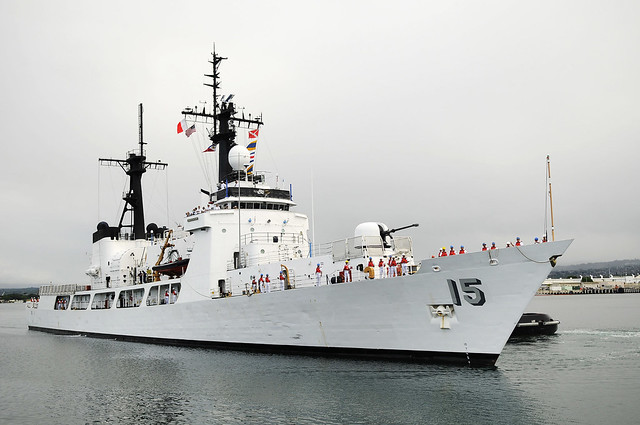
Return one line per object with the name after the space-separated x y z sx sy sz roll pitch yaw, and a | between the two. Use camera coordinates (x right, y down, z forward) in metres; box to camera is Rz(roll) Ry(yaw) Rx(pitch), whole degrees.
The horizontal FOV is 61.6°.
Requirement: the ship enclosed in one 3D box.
-4.267 4.049 41.455 47.371 20.815 12.782 -9 -10 44 | ship

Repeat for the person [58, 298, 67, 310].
-19.253 6.902 40.155 0.754 0.977 0.299 0 -8 19 | person
